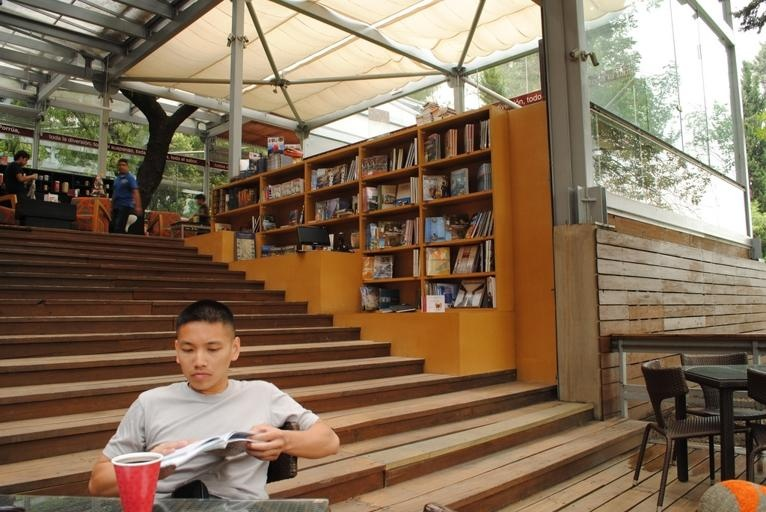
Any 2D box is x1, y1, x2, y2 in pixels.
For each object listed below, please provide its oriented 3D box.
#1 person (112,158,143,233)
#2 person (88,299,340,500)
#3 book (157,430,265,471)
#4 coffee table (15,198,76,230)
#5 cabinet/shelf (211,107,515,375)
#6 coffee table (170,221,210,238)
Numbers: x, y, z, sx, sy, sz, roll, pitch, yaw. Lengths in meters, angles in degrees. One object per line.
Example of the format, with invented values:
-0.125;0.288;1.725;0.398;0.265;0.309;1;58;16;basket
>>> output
-4.830;-1.133;9.766;0.522;1.606;1.337;5;-8;-25;person
-0.977;0.815;2.723;1.503;1.025;0.822;-7;-9;14;person
-0.875;0.921;2.524;0.418;0.130;0.186;6;-8;-39;book
-5.415;-0.664;8.379;0.288;0.446;0.698;-4;-9;42;coffee table
-1.167;0.025;8.212;1.218;3.222;6.953;6;-7;-44;cabinet/shelf
-4.553;-0.639;12.298;0.766;0.489;1.065;5;-7;-30;coffee table
